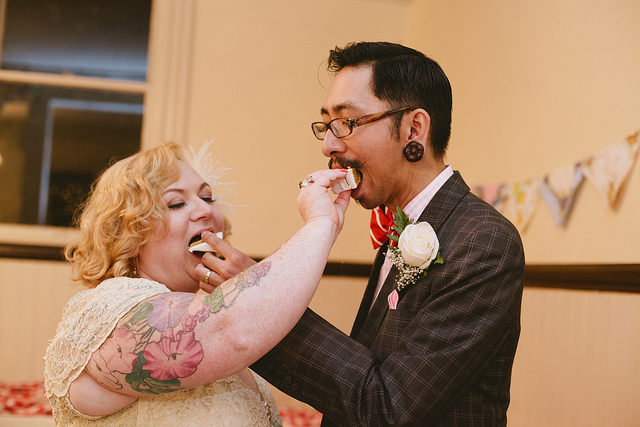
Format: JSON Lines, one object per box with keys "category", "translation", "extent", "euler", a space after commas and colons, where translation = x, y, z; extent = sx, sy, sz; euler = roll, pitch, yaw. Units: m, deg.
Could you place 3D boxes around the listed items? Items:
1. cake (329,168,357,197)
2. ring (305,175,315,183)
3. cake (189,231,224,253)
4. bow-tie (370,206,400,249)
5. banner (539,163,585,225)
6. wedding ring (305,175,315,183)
{"category": "cake", "translation": [0.123, -0.155, 3.335], "extent": [0.130, 0.128, 0.041], "euler": [-12, -10, 32]}
{"category": "ring", "translation": [-0.052, -0.170, 3.236], "extent": [0.034, 0.039, 0.057], "euler": [10, 0, -24]}
{"category": "cake", "translation": [-0.576, 0.137, 3.277], "extent": [0.116, 0.054, 0.108], "euler": [-3, 5, 7]}
{"category": "bow-tie", "translation": [0.350, 0.069, 3.558], "extent": [0.064, 0.198, 0.190], "euler": [-16, 27, -31]}
{"category": "banner", "translation": [1.454, -0.119, 3.974], "extent": [0.106, 0.381, 0.369], "euler": [10, 0, -9]}
{"category": "wedding ring", "translation": [-0.052, -0.173, 3.233], "extent": [0.035, 0.026, 0.009], "euler": [0, -48, 33]}
